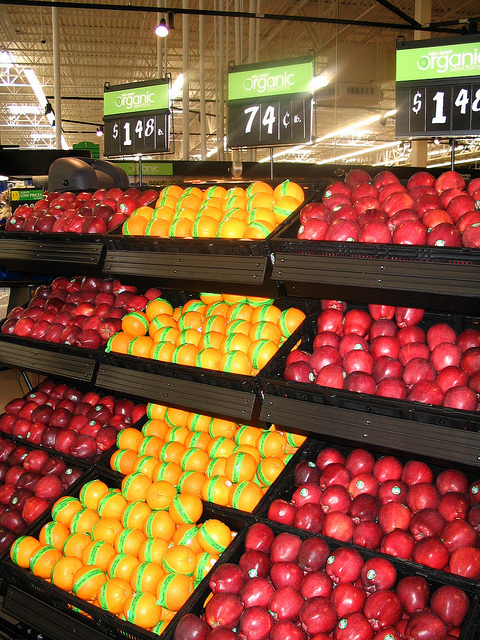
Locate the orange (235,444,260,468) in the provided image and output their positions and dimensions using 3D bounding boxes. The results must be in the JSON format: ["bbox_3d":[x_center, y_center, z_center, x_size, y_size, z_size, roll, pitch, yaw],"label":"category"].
[{"bbox_3d":[0.035,0.490,1.593,0.072,0.063,0.063,-31,20,19],"label":"orange"}]

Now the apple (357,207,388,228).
[{"bbox_3d":[0.387,-0.303,1.262,0.067,0.063,0.079,-7,-20,-14],"label":"apple"}]

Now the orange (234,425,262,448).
[{"bbox_3d":[0.043,0.453,1.679,0.065,0.072,0.066,1,13,-4],"label":"orange"}]

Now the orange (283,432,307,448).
[{"bbox_3d":[0.210,0.439,1.632,0.069,0.051,0.053,9,47,20],"label":"orange"}]

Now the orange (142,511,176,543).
[{"bbox_3d":[-0.276,0.696,1.460,0.102,0.095,0.108,-2,-7,-27],"label":"orange"}]

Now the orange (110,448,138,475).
[{"bbox_3d":[-0.499,0.596,1.877,0.096,0.109,0.099,36,59,9],"label":"orange"}]

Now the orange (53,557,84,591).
[{"bbox_3d":[-0.588,0.845,1.440,0.082,0.084,0.090,-18,-3,-44],"label":"orange"}]

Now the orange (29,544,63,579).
[{"bbox_3d":[-0.691,0.860,1.522,0.088,0.087,0.082,-59,9,-31],"label":"orange"}]

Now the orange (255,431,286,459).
[{"bbox_3d":[0.116,0.462,1.633,0.113,0.093,0.095,-8,27,34],"label":"orange"}]

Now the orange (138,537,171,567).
[{"bbox_3d":[-0.272,0.738,1.386,0.083,0.092,0.083,-1,-4,3],"label":"orange"}]

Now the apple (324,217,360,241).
[{"bbox_3d":[0.300,-0.261,1.238,0.099,0.047,0.078,6,23,29],"label":"apple"}]

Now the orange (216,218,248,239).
[{"bbox_3d":[-0.028,-0.327,1.512,0.115,0.055,0.149,-6,20,1],"label":"orange"}]

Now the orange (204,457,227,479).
[{"bbox_3d":[-0.091,0.549,1.599,0.077,0.083,0.076,3,24,3],"label":"orange"}]

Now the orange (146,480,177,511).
[{"bbox_3d":[-0.284,0.633,1.611,0.104,0.101,0.122,-2,-9,16],"label":"orange"}]

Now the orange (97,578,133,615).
[{"bbox_3d":[-0.381,0.825,1.321,0.088,0.086,0.103,16,-27,-43],"label":"orange"}]

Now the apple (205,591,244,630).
[{"bbox_3d":[-0.034,0.709,1.045,0.063,0.056,0.070,-35,4,-7],"label":"apple"}]

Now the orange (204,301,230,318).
[{"bbox_3d":[-0.102,-0.055,1.770,0.066,0.065,0.076,10,26,-7],"label":"orange"}]

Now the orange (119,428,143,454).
[{"bbox_3d":[-0.487,0.529,1.900,0.083,0.092,0.085,10,3,-5],"label":"orange"}]

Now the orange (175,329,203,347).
[{"bbox_3d":[-0.194,0.060,1.617,0.075,0.084,0.074,-2,25,-1],"label":"orange"}]

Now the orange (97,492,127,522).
[{"bbox_3d":[-0.486,0.713,1.627,0.080,0.090,0.079,1,-19,1],"label":"orange"}]

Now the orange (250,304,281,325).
[{"bbox_3d":[0.094,-0.024,1.566,0.078,0.087,0.081,0,44,6],"label":"orange"}]

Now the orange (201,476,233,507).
[{"bbox_3d":[-0.076,0.598,1.507,0.093,0.089,0.103,-8,-22,-5],"label":"orange"}]

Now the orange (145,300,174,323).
[{"bbox_3d":[-0.365,-0.042,1.902,0.098,0.090,0.104,-5,-5,-10],"label":"orange"}]

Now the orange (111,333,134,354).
[{"bbox_3d":[-0.480,0.090,1.721,0.077,0.071,0.072,-27,-43,25],"label":"orange"}]

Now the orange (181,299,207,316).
[{"bbox_3d":[-0.204,-0.064,1.864,0.072,0.080,0.068,-3,38,3],"label":"orange"}]

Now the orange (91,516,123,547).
[{"bbox_3d":[-0.500,0.782,1.616,0.091,0.100,0.088,8,56,16],"label":"orange"}]

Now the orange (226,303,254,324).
[{"bbox_3d":[0.001,-0.027,1.659,0.075,0.083,0.073,0,-2,-23],"label":"orange"}]

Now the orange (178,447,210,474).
[{"bbox_3d":[-0.180,0.539,1.662,0.089,0.095,0.087,-12,-10,-22],"label":"orange"}]

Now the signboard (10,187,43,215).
[{"bbox_3d":[-4.641,-2.638,9.239,0.660,0.386,0.541,-15,22,-23],"label":"signboard"}]

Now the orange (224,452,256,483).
[{"bbox_3d":[0.008,0.513,1.567,0.098,0.103,0.106,18,22,2],"label":"orange"}]

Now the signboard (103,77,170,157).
[{"bbox_3d":[-1.141,-2.176,4.577,0.094,0.745,0.848,36,45,28],"label":"signboard"}]

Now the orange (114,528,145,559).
[{"bbox_3d":[-0.379,0.750,1.469,0.088,0.099,0.092,-1,-11,0],"label":"orange"}]

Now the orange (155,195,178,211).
[{"bbox_3d":[-0.332,-0.533,1.918,0.078,0.088,0.078,18,6,-28],"label":"orange"}]

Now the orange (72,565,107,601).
[{"bbox_3d":[-0.492,0.838,1.372,0.096,0.094,0.094,-3,-3,1],"label":"orange"}]

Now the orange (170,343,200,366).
[{"bbox_3d":[-0.208,0.135,1.566,0.079,0.074,0.092,24,26,12],"label":"orange"}]

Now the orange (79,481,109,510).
[{"bbox_3d":[-0.589,0.702,1.729,0.082,0.093,0.092,-8,-5,7],"label":"orange"}]
